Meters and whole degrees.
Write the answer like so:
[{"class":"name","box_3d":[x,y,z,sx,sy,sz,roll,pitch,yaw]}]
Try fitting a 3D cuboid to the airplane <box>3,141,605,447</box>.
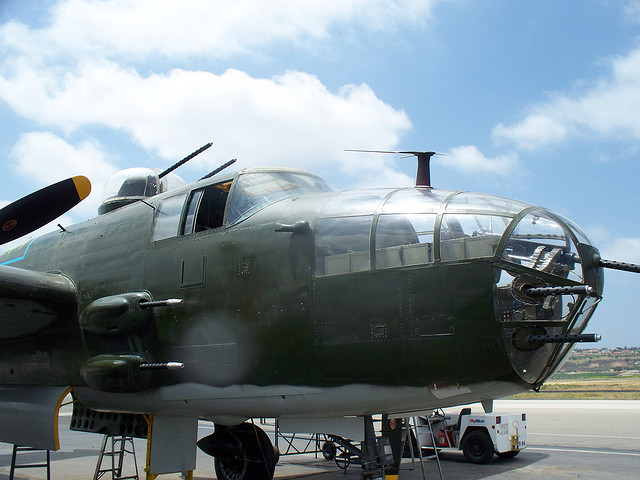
[{"class":"airplane","box_3d":[-0.990,1.241,13.330,12.749,5.891,1.673,-7,-14,18]}]
